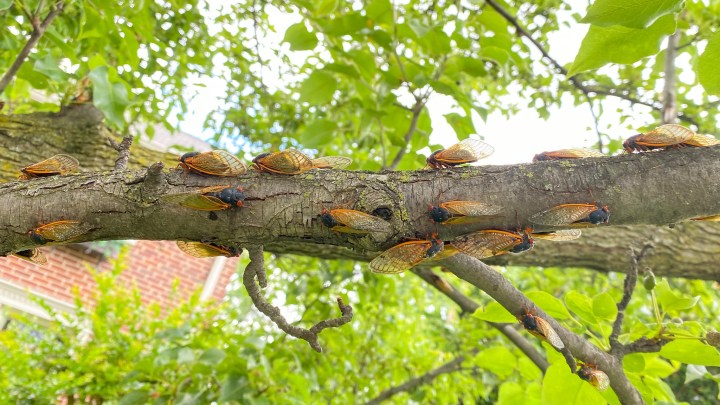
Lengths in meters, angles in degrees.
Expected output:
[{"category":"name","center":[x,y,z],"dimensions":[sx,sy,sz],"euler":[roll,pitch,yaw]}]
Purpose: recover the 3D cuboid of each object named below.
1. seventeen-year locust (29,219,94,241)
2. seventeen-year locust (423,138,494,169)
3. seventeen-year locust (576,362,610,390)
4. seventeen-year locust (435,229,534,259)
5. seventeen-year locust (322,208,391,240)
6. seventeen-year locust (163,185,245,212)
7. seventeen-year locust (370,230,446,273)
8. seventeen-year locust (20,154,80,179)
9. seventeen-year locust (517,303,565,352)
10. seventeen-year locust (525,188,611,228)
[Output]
[{"category":"seventeen-year locust","center":[-2.743,0.267,7.607],"dimensions":[0.683,0.175,0.207],"euler":[-2,-33,-13]},{"category":"seventeen-year locust","center":[0.899,-0.411,7.674],"dimensions":[0.591,0.310,0.252],"euler":[-15,-59,20]},{"category":"seventeen-year locust","center":[2.152,1.590,7.686],"dimensions":[0.333,0.206,0.111],"euler":[24,-33,10]},{"category":"seventeen-year locust","center":[1.109,0.397,7.587],"dimensions":[1.063,0.351,0.242],"euler":[-2,-61,5]},{"category":"seventeen-year locust","center":[0.053,0.168,7.507],"dimensions":[0.757,0.229,0.191],"euler":[10,-67,1]},{"category":"seventeen-year locust","center":[-1.359,-0.032,7.470],"dimensions":[0.803,0.240,0.207],"euler":[-1,-85,-11]},{"category":"seventeen-year locust","center":[0.404,0.459,7.546],"dimensions":[0.568,0.143,0.320],"euler":[-18,-72,0]},{"category":"seventeen-year locust","center":[-2.912,-0.310,7.799],"dimensions":[0.351,0.331,0.102],"euler":[-26,-93,15]},{"category":"seventeen-year locust","center":[1.686,1.180,7.677],"dimensions":[0.516,0.254,0.178],"euler":[31,-55,-16]},{"category":"seventeen-year locust","center":[1.896,0.117,7.479],"dimensions":[0.564,0.144,0.297],"euler":[0,-68,2]}]
